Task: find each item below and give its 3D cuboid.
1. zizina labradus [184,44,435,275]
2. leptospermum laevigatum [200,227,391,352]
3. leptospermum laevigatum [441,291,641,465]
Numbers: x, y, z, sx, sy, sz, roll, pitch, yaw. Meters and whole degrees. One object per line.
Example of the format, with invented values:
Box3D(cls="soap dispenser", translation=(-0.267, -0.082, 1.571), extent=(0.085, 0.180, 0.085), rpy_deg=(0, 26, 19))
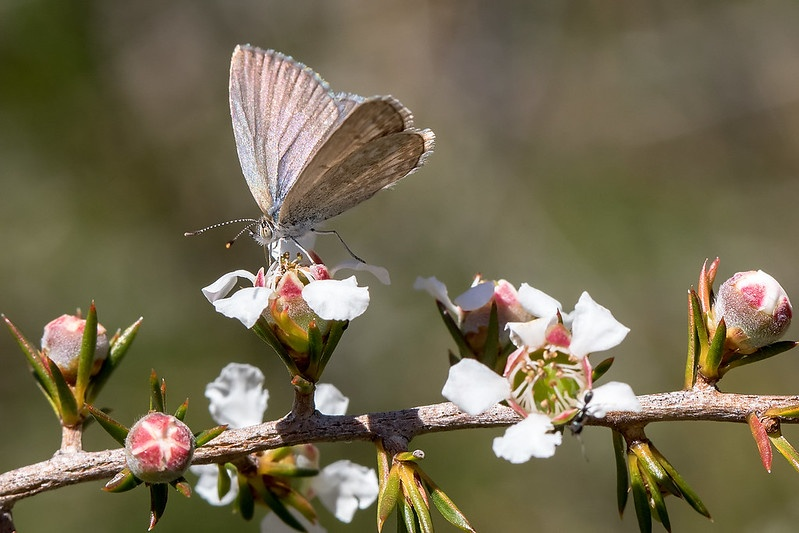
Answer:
Box3D(cls="zizina labradus", translation=(-0.520, -0.496, 4.340), extent=(1.180, 0.938, 1.090), rpy_deg=(15, 30, 35))
Box3D(cls="leptospermum laevigatum", translation=(-0.478, 0.075, 3.914), extent=(0.694, 0.672, 0.335), rpy_deg=(-5, -67, 5))
Box3D(cls="leptospermum laevigatum", translation=(0.628, 0.437, 3.725), extent=(0.808, 0.983, 0.304), rpy_deg=(1, -40, -45))
